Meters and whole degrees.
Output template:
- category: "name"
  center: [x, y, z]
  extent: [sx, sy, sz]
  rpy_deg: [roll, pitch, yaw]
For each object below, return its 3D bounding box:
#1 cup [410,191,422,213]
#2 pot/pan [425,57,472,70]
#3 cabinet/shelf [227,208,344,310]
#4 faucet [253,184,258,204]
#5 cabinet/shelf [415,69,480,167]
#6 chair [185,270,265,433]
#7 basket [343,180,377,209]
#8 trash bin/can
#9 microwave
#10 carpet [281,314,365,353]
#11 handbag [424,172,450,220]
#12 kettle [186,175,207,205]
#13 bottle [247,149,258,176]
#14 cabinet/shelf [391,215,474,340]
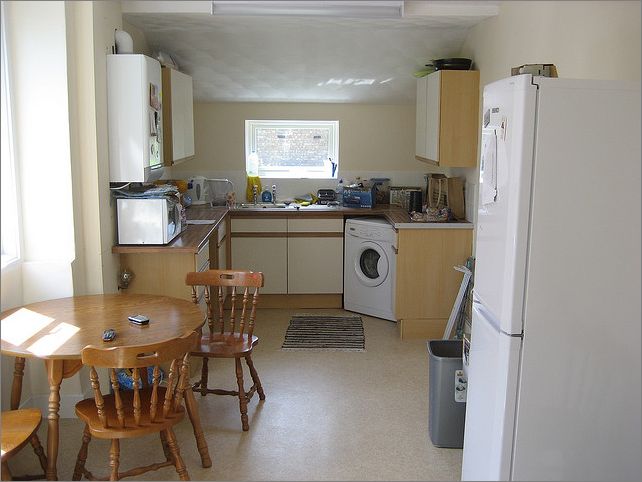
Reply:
- category: "cup"
  center: [0.961, -0.391, 5.115]
  extent: [0.145, 0.200, 0.213]
  rpy_deg: [3, 14, 10]
- category: "pot/pan"
  center: [1.196, -1.575, 4.558]
  extent: [0.344, 0.118, 0.244]
  rpy_deg: [-1, 14, -8]
- category: "cabinet/shelf"
  center: [-0.380, 0.103, 5.633]
  extent: [1.216, 1.064, 0.700]
  rpy_deg: [1, 20, 0]
- category: "faucet"
  center: [-0.752, -0.513, 5.711]
  extent: [0.065, 0.187, 0.227]
  rpy_deg: [-1, 14, -8]
- category: "cabinet/shelf"
  center: [1.156, -1.105, 4.540]
  extent: [0.334, 0.789, 0.896]
  rpy_deg: [0, 10, 0]
- category: "chair"
  center: [-0.673, 0.707, 3.399]
  extent: [0.673, 0.916, 0.640]
  rpy_deg: [-3, 5, -31]
- category: "basket"
  center: [0.402, -0.419, 5.490]
  extent: [0.409, 0.316, 0.229]
  rpy_deg: [0, 0, 18]
- category: "trash bin/can"
  center: [0.777, 0.942, 3.163]
  extent: [0.243, 0.639, 0.417]
  rpy_deg: [4, 14, 13]
- category: "microwave"
  center: [-1.432, -0.115, 3.866]
  extent: [0.374, 0.349, 0.510]
  rpy_deg: [-1, -4, -35]
- category: "carpet"
  center: [0.031, 0.859, 4.777]
  extent: [0.747, 0.034, 0.751]
  rpy_deg: [1, 14, 3]
- category: "handbag"
  center: [1.117, -0.462, 5.092]
  extent: [0.130, 0.328, 0.368]
  rpy_deg: [7, 9, 36]
- category: "kettle"
  center: [-1.345, -0.540, 5.436]
  extent: [0.187, 0.300, 0.288]
  rpy_deg: [-3, 15, -28]
- category: "bottle"
  center: [-0.812, -0.903, 5.891]
  extent: [0.124, 0.271, 0.213]
  rpy_deg: [2, 14, 5]
- category: "cabinet/shelf"
  center: [0.876, 0.238, 5.141]
  extent: [0.735, 1.106, 1.127]
  rpy_deg: [1, 14, -10]
